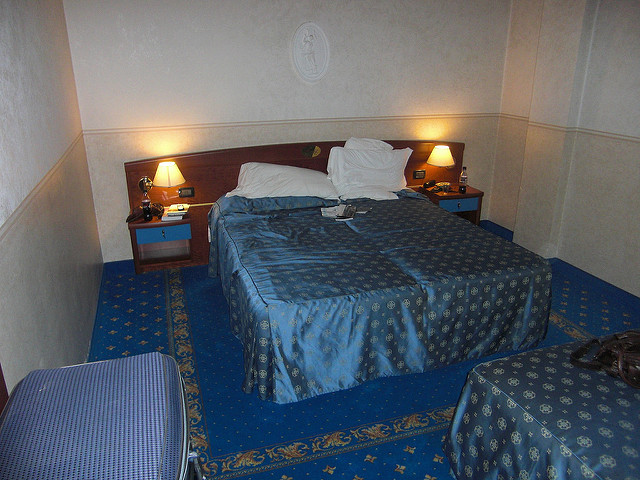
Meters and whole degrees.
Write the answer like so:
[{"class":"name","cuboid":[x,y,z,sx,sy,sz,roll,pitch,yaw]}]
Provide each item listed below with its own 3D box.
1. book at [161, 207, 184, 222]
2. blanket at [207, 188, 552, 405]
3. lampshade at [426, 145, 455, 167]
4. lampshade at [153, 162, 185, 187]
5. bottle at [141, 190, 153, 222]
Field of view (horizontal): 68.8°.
[{"class":"book","cuboid":[-1.562,-0.259,4.820,0.209,0.066,0.356,-19,27,-38]},{"class":"blanket","cuboid":[0.398,0.304,4.111,2.406,0.898,1.799,-7,21,-15]},{"class":"lampshade","cuboid":[1.418,-0.983,5.450,0.230,0.159,0.256,-11,23,-34]},{"class":"lampshade","cuboid":[-1.507,-0.653,4.688,0.257,0.174,0.232,-23,33,-39]},{"class":"bottle","cuboid":[-1.767,-0.363,4.779,0.088,0.285,0.304,-8,21,-18]}]
